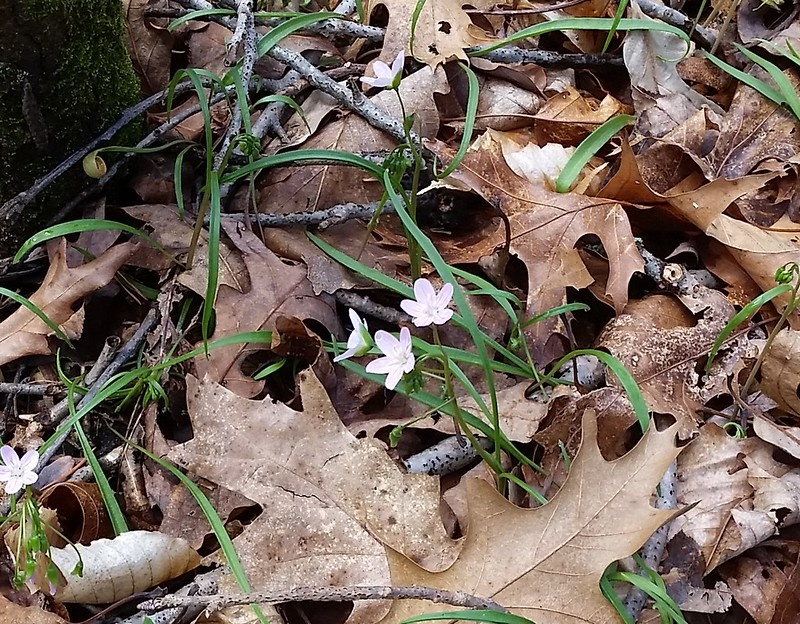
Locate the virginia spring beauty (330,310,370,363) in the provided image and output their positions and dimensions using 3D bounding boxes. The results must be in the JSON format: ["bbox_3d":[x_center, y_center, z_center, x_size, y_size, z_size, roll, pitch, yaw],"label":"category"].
[{"bbox_3d":[-0.144,0.095,2.532,0.064,0.159,0.177,4,80,-21],"label":"virginia spring beauty"}]

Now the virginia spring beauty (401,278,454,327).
[{"bbox_3d":[0.097,-0.051,2.541,0.142,0.066,0.168,-10,97,11],"label":"virginia spring beauty"}]

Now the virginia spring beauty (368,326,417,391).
[{"bbox_3d":[-0.014,0.123,2.486,0.153,0.112,0.181,-32,90,14],"label":"virginia spring beauty"}]
